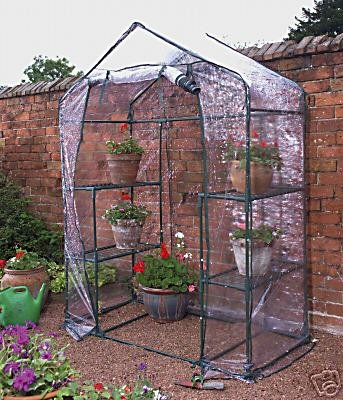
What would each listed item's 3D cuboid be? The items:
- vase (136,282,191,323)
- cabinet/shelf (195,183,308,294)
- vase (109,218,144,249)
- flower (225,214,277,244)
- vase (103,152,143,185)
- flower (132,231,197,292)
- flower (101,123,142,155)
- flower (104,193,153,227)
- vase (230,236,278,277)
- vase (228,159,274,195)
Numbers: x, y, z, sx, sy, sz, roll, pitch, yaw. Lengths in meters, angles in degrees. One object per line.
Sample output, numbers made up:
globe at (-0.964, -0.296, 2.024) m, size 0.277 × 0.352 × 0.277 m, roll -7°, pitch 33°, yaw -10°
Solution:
vase at (-0.057, 0.787, 3.121) m, size 0.358 × 0.201 × 0.355 m, roll 0°, pitch -2°, yaw 38°
cabinet/shelf at (0.500, 0.230, 2.423) m, size 0.816 × 0.659 × 0.458 m, roll -4°, pitch 4°, yaw -43°
vase at (-0.301, 0.259, 3.190) m, size 0.344 × 0.217 × 0.298 m, roll -4°, pitch 0°, yaw 4°
flower at (0.512, 0.176, 2.358) m, size 0.191 × 0.060 × 0.178 m, roll -5°, pitch 13°, yaw -32°
vase at (-0.381, -0.243, 3.200) m, size 0.311 × 0.189 × 0.291 m, roll -1°, pitch 0°, yaw 27°
flower at (-0.038, 0.537, 3.252) m, size 0.578 × 0.309 × 0.465 m, roll -3°, pitch 0°, yaw 18°
flower at (-0.366, -0.454, 3.228) m, size 0.349 × 0.174 × 0.349 m, roll 9°, pitch 13°, yaw 40°
flower at (-0.370, 0.092, 3.168) m, size 0.359 × 0.127 × 0.290 m, roll -6°, pitch 21°, yaw 0°
vase at (0.477, 0.314, 2.330) m, size 0.277 × 0.174 × 0.243 m, roll 1°, pitch 0°, yaw -1°
vase at (0.490, -0.105, 2.368) m, size 0.254 × 0.164 × 0.258 m, roll -10°, pitch -13°, yaw 37°
